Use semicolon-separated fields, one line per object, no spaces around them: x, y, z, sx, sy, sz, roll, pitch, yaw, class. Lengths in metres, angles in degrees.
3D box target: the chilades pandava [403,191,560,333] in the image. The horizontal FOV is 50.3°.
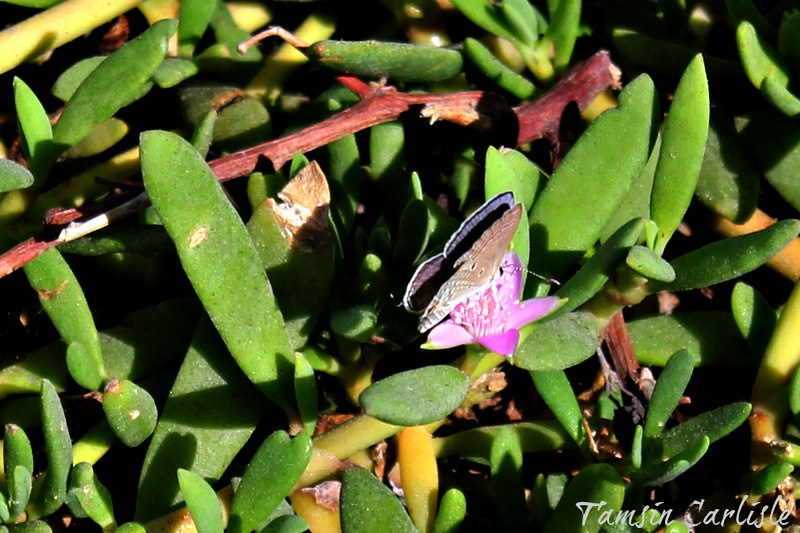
0.140;-0.019;1.663;0.321;0.267;0.100;-26;39;-22;chilades pandava
